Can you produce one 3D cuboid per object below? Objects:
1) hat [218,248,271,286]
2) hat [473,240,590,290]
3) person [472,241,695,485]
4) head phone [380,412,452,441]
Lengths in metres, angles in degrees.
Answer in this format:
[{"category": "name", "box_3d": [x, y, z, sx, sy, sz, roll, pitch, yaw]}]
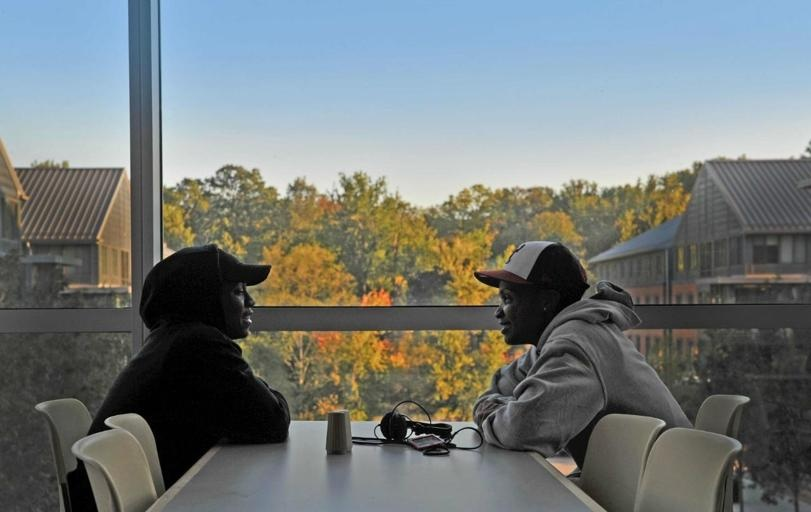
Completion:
[{"category": "hat", "box_3d": [-0.943, 0.079, 6.347, 0.280, 0.097, 0.183, 8, 15, -16]}, {"category": "hat", "box_3d": [0.764, 0.070, 6.398, 0.481, 0.276, 0.319, 2, -7, 2]}, {"category": "person", "box_3d": [1.093, 0.778, 6.436, 1.301, 1.728, 1.082, -3, 2, 8]}, {"category": "head phone", "box_3d": [0.043, 0.992, 6.198, 0.266, 0.134, 0.208, -1, -7, 5]}]
